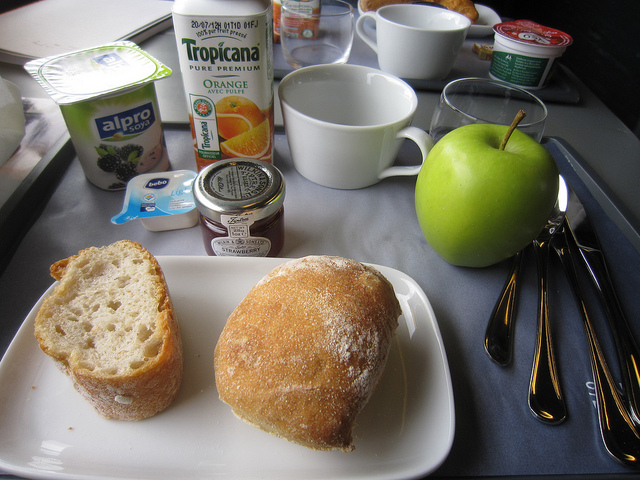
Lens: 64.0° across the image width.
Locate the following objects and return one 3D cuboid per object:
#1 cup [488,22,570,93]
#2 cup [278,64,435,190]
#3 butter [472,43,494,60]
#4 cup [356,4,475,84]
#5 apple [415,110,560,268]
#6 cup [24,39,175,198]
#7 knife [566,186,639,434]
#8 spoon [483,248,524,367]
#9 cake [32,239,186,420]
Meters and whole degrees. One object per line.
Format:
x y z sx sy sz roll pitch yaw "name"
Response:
0.598 -0.545 1.497 0.215 0.147 0.228 2 40 -1 "cup"
0.114 -0.274 1.197 0.300 0.303 0.367 -20 34 -39 "cup"
0.536 -0.616 1.674 0.059 0.019 0.064 -9 51 -12 "butter"
0.265 -0.579 1.449 0.273 0.141 0.248 -1 48 2 "cup"
0.342 -0.102 1.028 0.259 0.333 0.262 -17 35 -24 "apple"
-0.466 -0.312 1.142 0.272 0.288 0.301 -22 64 -20 "cup"
0.543 0.125 0.988 0.041 0.043 0.418 3 59 -16 "knife"
0.372 0.086 1.014 0.045 0.036 0.372 26 53 2 "spoon"
-0.361 0.158 0.881 0.221 0.067 0.318 -19 58 -19 "cake"
